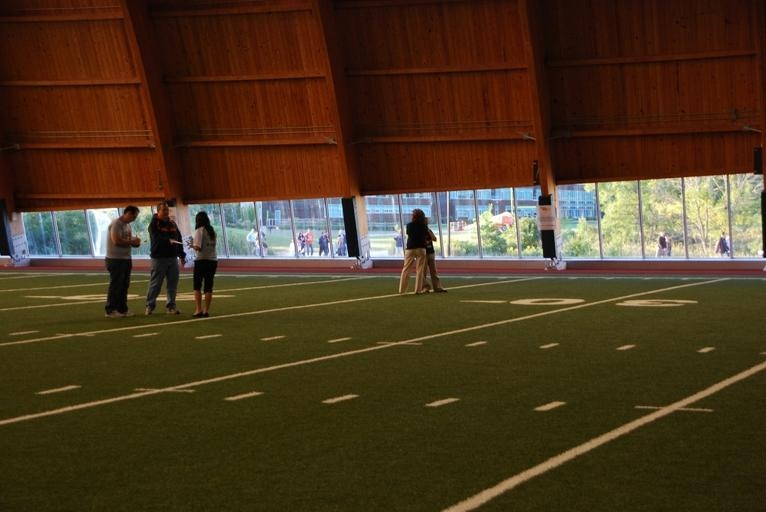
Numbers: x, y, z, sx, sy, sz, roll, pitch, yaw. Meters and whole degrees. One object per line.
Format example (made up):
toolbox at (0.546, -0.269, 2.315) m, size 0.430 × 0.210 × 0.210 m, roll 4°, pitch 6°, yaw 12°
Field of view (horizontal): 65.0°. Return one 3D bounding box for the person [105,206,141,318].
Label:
person at (-5.079, 0.098, 11.674) m, size 0.701 × 2.124 × 1.360 m, roll -4°, pitch 6°, yaw -25°

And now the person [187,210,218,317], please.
person at (-3.384, 0.182, 11.355) m, size 0.479 × 2.008 × 0.746 m, roll -3°, pitch 6°, yaw -17°

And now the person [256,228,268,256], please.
person at (-5.190, -0.590, 25.599) m, size 0.536 × 1.259 × 0.247 m, roll 0°, pitch 6°, yaw 17°

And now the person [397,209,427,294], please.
person at (0.787, -0.105, 14.365) m, size 0.656 × 2.007 × 0.576 m, roll 0°, pitch -7°, yaw 22°

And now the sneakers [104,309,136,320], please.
sneakers at (-5.108, 1.134, 11.665) m, size 0.543 × 0.217 × 0.178 m, roll -1°, pitch 1°, yaw 1°

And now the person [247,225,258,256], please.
person at (-5.576, -0.625, 25.778) m, size 0.622 × 1.208 × 0.277 m, roll 3°, pitch 7°, yaw 42°

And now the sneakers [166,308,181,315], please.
sneakers at (-4.150, 1.094, 11.920) m, size 0.310 × 0.137 × 0.112 m, roll -5°, pitch -3°, yaw 34°

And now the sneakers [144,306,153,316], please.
sneakers at (-4.670, 1.091, 11.975) m, size 0.140 × 0.157 × 0.238 m, roll 1°, pitch -4°, yaw -24°

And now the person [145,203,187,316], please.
person at (-4.408, 0.042, 12.064) m, size 0.793 × 2.204 × 1.437 m, roll -4°, pitch 6°, yaw -20°
